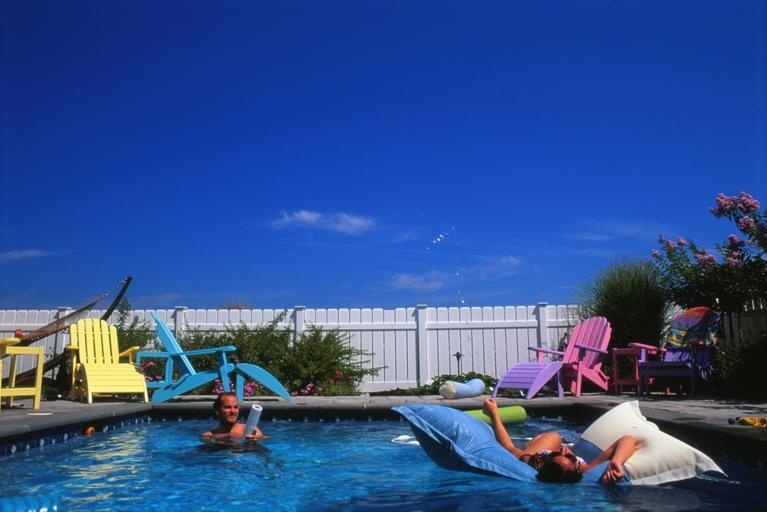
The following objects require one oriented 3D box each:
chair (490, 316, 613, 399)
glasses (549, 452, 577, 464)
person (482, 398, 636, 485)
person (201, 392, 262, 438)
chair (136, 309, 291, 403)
[{"bbox_3d":[3.750,2.137,12.673,2.542,1.630,1.340,4,-7,-28],"label":"chair"},{"bbox_3d":[2.305,2.590,7.523,0.328,0.099,0.178,-2,0,11],"label":"glasses"},{"bbox_3d":[2.348,2.412,7.687,1.920,0.894,0.705,-2,1,22],"label":"person"},{"bbox_3d":[-2.450,2.615,9.294,1.156,0.833,0.733,3,-20,-23],"label":"person"},{"bbox_3d":[-3.771,2.091,12.527,3.432,2.019,1.890,0,-8,-5],"label":"chair"}]
